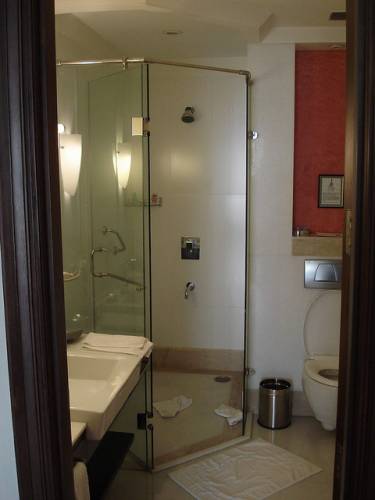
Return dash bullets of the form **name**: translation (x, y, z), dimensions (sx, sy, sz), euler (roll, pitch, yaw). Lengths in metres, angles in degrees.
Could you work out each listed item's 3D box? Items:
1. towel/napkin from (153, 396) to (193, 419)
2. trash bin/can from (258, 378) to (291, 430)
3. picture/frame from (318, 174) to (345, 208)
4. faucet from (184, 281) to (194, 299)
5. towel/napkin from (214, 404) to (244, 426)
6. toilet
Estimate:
- **towel/napkin**: translation (-0.084, 1.061, 2.927), dimensions (0.278, 0.025, 0.212), euler (-5, 14, -23)
- **trash bin/can**: translation (0.569, 0.969, 2.851), dimensions (0.189, 0.309, 0.234), euler (-7, 21, -6)
- **picture/frame**: translation (0.978, -0.405, 2.936), dimensions (0.170, 0.011, 0.312), euler (0, 53, 22)
- **faucet**: translation (0.016, 0.310, 3.317), dimensions (0.084, 0.129, 0.062), euler (2, 10, 11)
- **towel/napkin**: translation (0.277, 1.075, 2.827), dimensions (0.203, 0.054, 0.130), euler (12, 17, 41)
- **toilet**: translation (0.814, 0.727, 2.671), dimensions (0.230, 0.891, 0.458), euler (4, 10, 19)
